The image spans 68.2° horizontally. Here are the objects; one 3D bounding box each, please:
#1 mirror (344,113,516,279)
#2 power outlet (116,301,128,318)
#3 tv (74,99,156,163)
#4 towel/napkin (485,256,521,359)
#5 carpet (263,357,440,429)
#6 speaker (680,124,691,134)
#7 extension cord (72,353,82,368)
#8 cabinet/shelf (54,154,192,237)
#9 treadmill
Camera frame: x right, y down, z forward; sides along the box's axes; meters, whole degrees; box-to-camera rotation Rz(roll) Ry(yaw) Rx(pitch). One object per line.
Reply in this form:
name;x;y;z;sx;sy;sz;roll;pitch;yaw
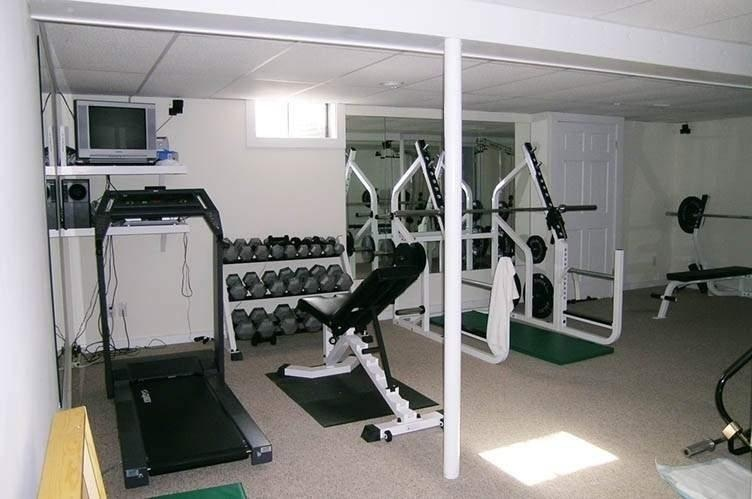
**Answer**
mirror;0.798;-0.716;7.338;2.470;2.046;0.545;-6;14;-28
power outlet;-2.695;0.643;5.937;0.106;0.144;0.043;3;-2;-38
tv;-2.611;-1.154;5.470;0.744;0.609;0.376;-1;10;-35
towel/napkin;1.240;0.595;5.488;0.274;1.072;0.337;3;13;11
carpet;-0.399;1.260;4.873;0.847;0.026;1.058;-4;13;-20
speaker;4.847;-1.894;8.755;0.173;0.190;0.137;10;20;44
extension cord;-2.944;1.080;5.493;0.079;0.084;0.286;-7;14;-29
cabinet/shelf;-2.447;-0.742;5.252;1.414;0.864;0.729;-2;3;-28
treadmill;-1.577;0.506;4.303;1.011;1.787;2.004;-6;14;-27
